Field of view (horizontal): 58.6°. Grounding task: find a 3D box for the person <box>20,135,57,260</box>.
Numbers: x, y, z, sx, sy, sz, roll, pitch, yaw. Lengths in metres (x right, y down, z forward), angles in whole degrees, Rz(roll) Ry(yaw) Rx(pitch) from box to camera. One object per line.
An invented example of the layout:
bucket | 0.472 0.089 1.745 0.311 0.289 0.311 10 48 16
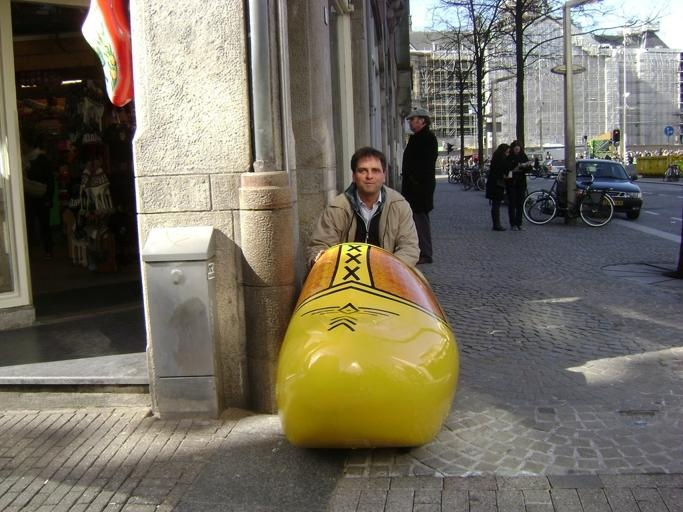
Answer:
person | -5.088 -0.975 10.300 0.431 2.071 0.848 -7 12 -23

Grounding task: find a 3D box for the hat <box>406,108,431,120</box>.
hat | 1.277 -2.324 9.986 0.353 0.175 0.252 10 10 6

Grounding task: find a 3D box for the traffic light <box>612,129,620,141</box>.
traffic light | 21.174 -9.233 46.886 0.484 0.862 0.998 2 12 17

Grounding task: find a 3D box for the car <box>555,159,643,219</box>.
car | 7.302 -1.913 17.261 1.446 1.414 3.184 1 1 8

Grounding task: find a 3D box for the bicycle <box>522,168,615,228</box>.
bicycle | 5.798 -1.358 15.559 2.417 1.484 1.192 0 0 16

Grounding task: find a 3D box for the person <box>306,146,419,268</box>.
person | 0.175 -0.210 4.881 0.901 1.209 0.889 -1 8 -3
